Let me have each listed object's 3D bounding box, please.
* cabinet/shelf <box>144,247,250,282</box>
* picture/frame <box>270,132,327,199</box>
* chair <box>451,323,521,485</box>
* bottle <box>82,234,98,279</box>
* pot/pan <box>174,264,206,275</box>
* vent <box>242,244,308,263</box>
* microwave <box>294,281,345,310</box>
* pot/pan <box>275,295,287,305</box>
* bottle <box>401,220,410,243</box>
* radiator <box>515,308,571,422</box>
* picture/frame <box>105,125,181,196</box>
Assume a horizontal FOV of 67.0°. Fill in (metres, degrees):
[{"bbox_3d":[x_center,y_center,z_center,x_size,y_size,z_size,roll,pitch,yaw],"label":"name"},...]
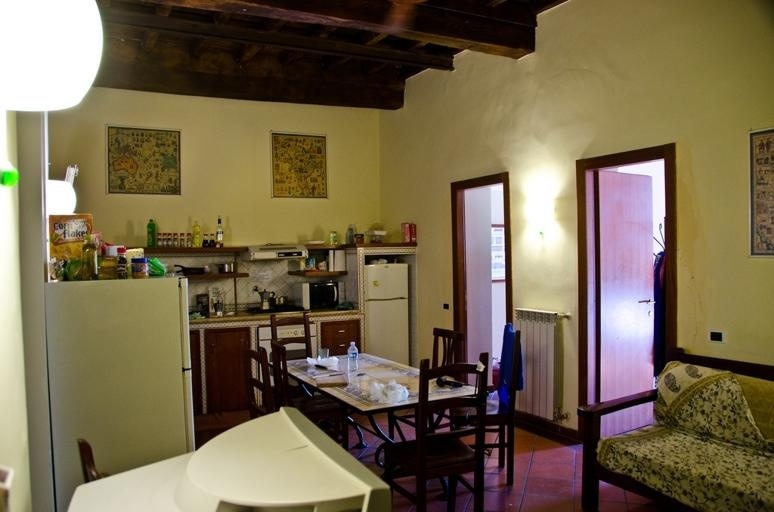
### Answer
[{"bbox_3d":[-2.468,0.075,7.545,1.270,0.409,0.376,-2,9,-31],"label":"cabinet/shelf"},{"bbox_3d":[-1.264,-1.275,8.182,0.952,0.969,0.069,0,-2,-33],"label":"picture/frame"},{"bbox_3d":[0.919,1.358,5.457,0.671,1.233,0.709,-3,-8,11],"label":"chair"},{"bbox_3d":[-2.089,0.002,4.166,0.085,0.313,0.201,-3,3,-7],"label":"bottle"},{"bbox_3d":[-2.494,0.169,7.403,0.416,0.126,0.267,0,3,37],"label":"pot/pan"},{"bbox_3d":[-1.448,-0.056,7.705,0.778,0.171,0.280,-3,3,-17],"label":"vent"},{"bbox_3d":[-0.949,0.424,7.855,0.562,0.365,0.357,0,-1,-30],"label":"microwave"},{"bbox_3d":[-1.413,0.603,7.953,0.102,0.114,0.246,-2,3,5],"label":"pot/pan"},{"bbox_3d":[0.296,-0.317,8.113,0.143,0.284,0.139,-2,3,0],"label":"bottle"},{"bbox_3d":[1.659,1.161,6.217,0.139,1.143,0.583,-5,4,-37],"label":"radiator"},{"bbox_3d":[-3.096,-1.207,7.348,0.903,0.883,0.074,-1,3,-27],"label":"picture/frame"}]
